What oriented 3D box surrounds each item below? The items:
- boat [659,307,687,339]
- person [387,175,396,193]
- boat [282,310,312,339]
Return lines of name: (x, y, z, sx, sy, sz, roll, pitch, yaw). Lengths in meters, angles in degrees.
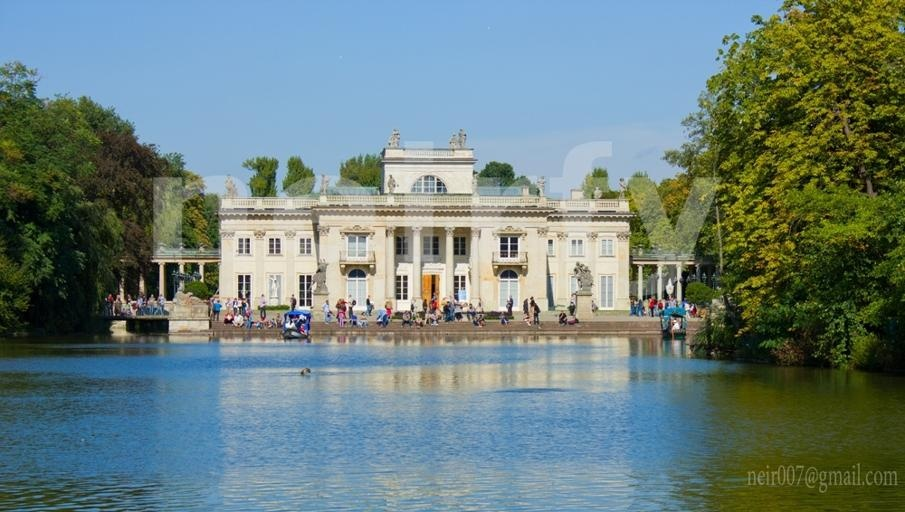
boat: (13.421, 4.139, 84.395, 1.300, 1.748, 2.880, -2, 6, 3)
person: (-4.773, -5.485, 108.034, 0.598, 1.355, 1.780, -2, 6, -1)
boat: (-9.379, 4.193, 83.637, 1.576, 1.541, 1.584, -3, 6, -9)
